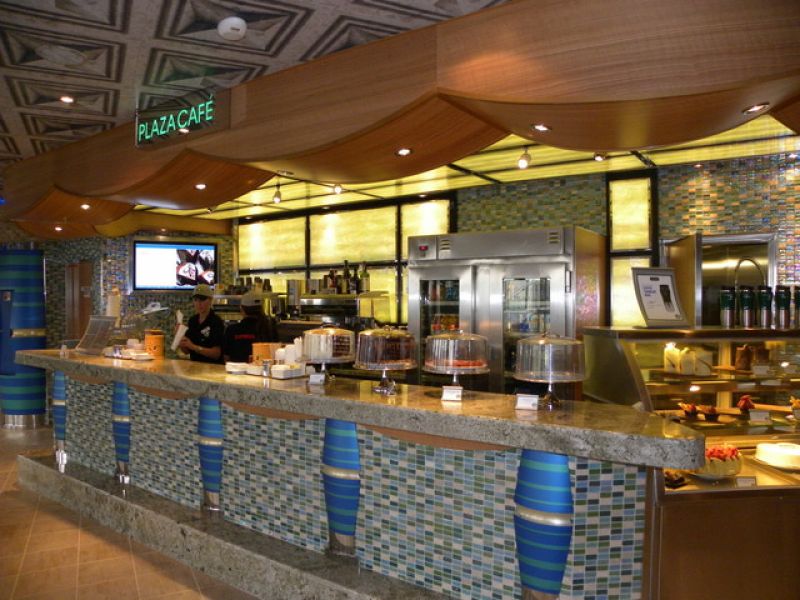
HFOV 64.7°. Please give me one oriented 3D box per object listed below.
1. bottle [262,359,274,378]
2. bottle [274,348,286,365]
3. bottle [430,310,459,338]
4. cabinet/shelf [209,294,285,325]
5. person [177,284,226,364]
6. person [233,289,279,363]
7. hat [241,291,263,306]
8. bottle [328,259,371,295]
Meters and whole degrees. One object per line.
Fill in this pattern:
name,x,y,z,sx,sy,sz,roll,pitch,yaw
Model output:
bottle,-1.013,0.535,4.841,0.079,0.126,0.122,-1,1,-9
bottle,-0.942,0.442,4.926,0.073,0.111,0.124,-1,1,-10
bottle,0.436,0.226,6.108,0.349,0.230,0.154,-1,-11,13
cabinet/shelf,-2.265,0.108,9.292,0.979,0.716,0.584,2,2,4
person,-2.049,0.252,6.542,0.426,0.810,0.693,-1,1,-14
person,-1.491,0.271,6.378,0.448,0.692,0.885,-1,1,-12
hat,-1.558,-0.013,6.554,0.214,0.083,0.263,-1,3,-20
bottle,-0.685,-0.303,8.714,0.740,0.148,0.182,-16,-23,21
